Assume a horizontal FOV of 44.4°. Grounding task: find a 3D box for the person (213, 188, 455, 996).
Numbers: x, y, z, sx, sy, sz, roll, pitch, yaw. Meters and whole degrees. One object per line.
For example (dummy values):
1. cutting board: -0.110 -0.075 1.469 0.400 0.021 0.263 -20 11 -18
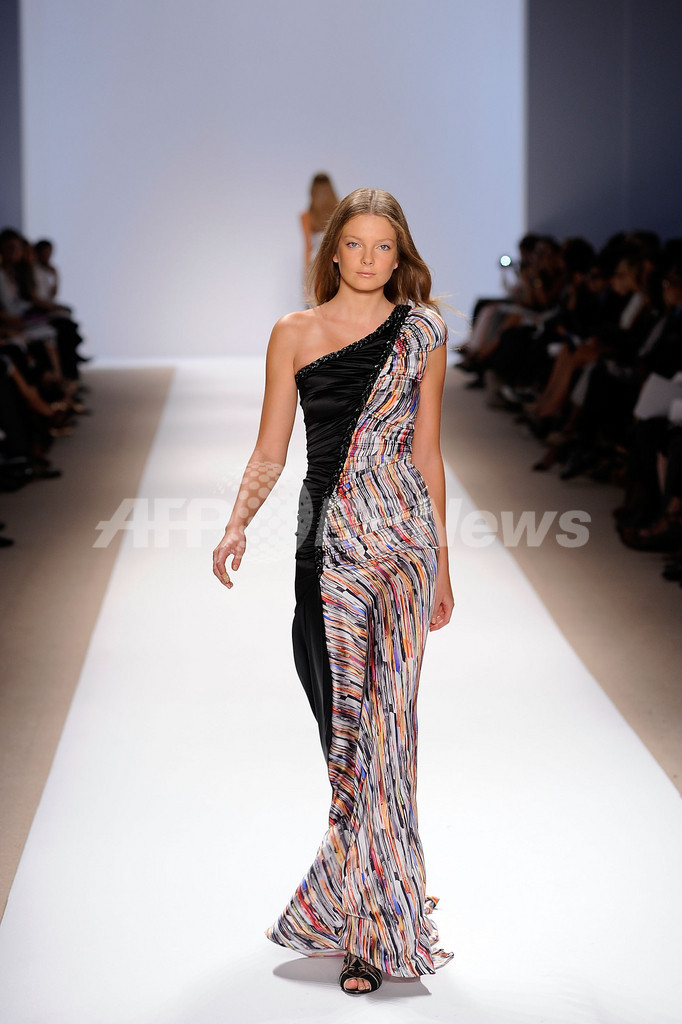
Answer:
1. person: -0.001 0.106 1.137 0.298 1.053 0.266 0 7 7
